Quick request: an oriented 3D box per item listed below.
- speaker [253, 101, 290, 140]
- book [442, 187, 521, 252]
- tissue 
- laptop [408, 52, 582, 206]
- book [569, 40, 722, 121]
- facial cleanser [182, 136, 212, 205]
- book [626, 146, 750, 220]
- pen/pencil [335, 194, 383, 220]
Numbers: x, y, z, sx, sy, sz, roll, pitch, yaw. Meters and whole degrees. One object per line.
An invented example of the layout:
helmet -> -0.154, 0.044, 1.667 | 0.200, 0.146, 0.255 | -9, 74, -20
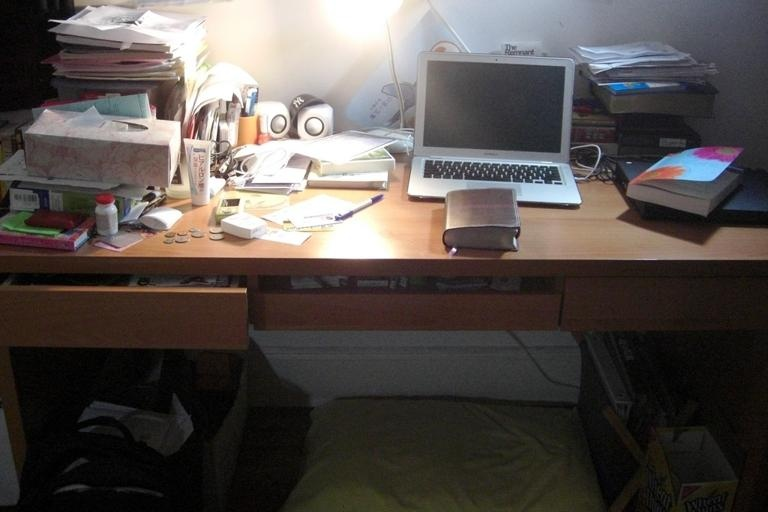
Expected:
speaker -> -0.358, -0.437, 1.840 | 0.115, 0.095, 0.120 | -7, 13, -22
book -> 0.244, -0.096, 1.463 | 0.183, 0.108, 0.198 | 1, 22, 6
tissue  -> -0.743, -0.344, 1.633 | 0.482, 0.188, 0.301 | -6, 26, -7
laptop -> 0.333, -0.391, 1.770 | 0.632, 0.440, 0.308 | 2, 38, 2
book -> 0.812, -0.565, 1.825 | 0.396, 0.217, 0.235 | -1, 22, 2
facial cleanser -> -0.495, -0.225, 1.555 | 0.099, 0.176, 0.046 | 9, 19, 28
book -> 0.836, -0.229, 1.546 | 0.221, 0.080, 0.262 | 16, 43, 37
pen/pencil -> -0.068, -0.131, 1.563 | 0.019, 0.018, 0.142 | 36, 45, 27
